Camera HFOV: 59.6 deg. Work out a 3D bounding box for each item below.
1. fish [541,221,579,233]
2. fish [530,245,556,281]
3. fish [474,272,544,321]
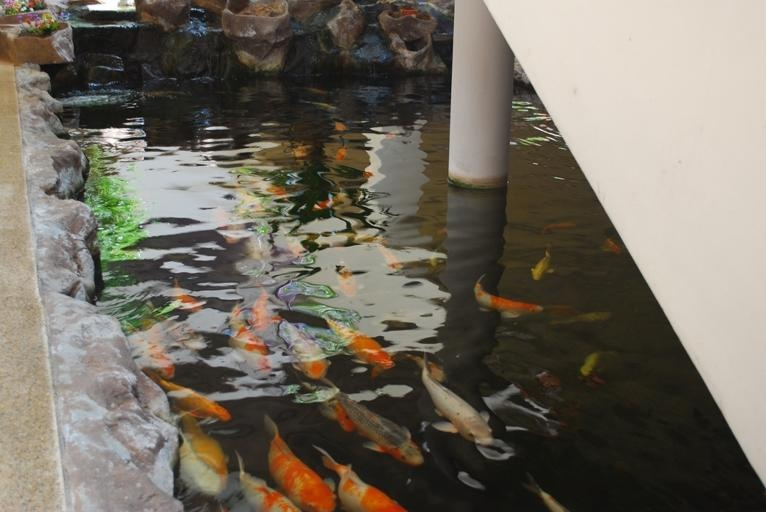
[{"bbox_3d":[1.510,-0.246,5.698,0.292,0.047,0.085,-4,39,-5],"label":"fish"},{"bbox_3d":[1.200,0.067,5.084,0.129,0.108,0.328,12,41,35],"label":"fish"},{"bbox_3d":[0.856,0.338,4.701,0.445,0.168,0.180,2,-19,32],"label":"fish"}]
